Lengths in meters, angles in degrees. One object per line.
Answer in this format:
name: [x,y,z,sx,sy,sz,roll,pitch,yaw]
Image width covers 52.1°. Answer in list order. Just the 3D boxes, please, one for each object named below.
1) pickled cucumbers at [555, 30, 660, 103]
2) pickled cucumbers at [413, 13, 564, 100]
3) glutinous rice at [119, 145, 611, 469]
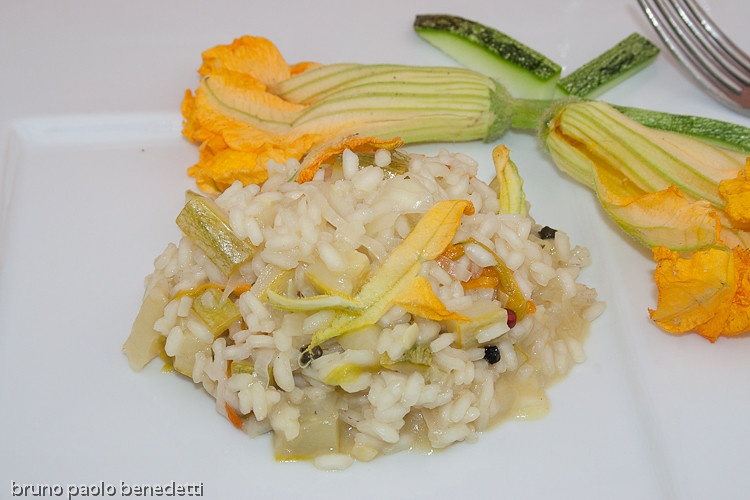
pickled cucumbers: [1.207,-0.926,3.937,0.496,0.099,0.171,-35,43,-16]
pickled cucumbers: [0.621,-1.146,4.322,0.435,0.356,1.384,17,17,29]
glutinous rice: [-0.035,0.290,3.240,1.577,0.473,1.149,-2,81,-6]
